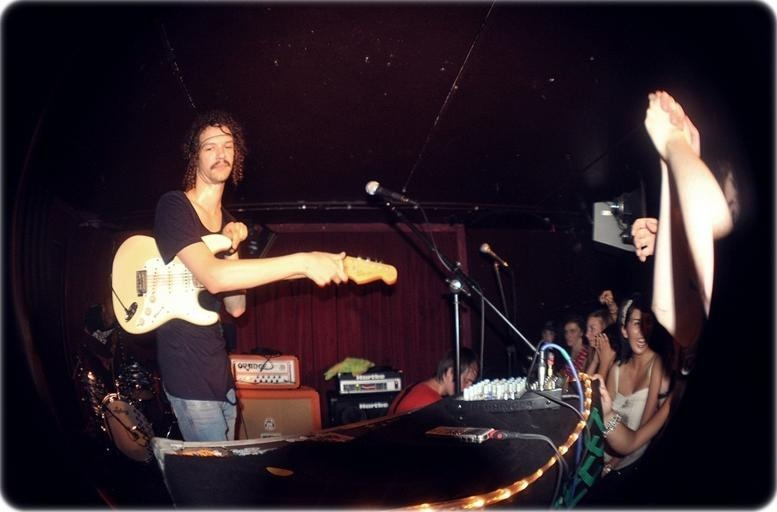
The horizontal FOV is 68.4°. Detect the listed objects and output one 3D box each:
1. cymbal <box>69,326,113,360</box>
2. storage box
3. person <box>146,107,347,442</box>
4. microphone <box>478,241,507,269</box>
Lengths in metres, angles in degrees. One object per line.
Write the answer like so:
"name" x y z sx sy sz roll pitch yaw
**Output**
"cymbal" -1.662 0.488 3.230 0.167 0.167 0.046 0 26 -25
"storage box" -1.098 1.561 5.962 0.949 0.630 0.534 10 -42 -24
"person" -0.910 0.107 3.232 0.765 1.974 1.177 -1 4 -28
"microphone" 1.208 -0.020 6.574 0.132 0.155 0.514 -28 -39 26
